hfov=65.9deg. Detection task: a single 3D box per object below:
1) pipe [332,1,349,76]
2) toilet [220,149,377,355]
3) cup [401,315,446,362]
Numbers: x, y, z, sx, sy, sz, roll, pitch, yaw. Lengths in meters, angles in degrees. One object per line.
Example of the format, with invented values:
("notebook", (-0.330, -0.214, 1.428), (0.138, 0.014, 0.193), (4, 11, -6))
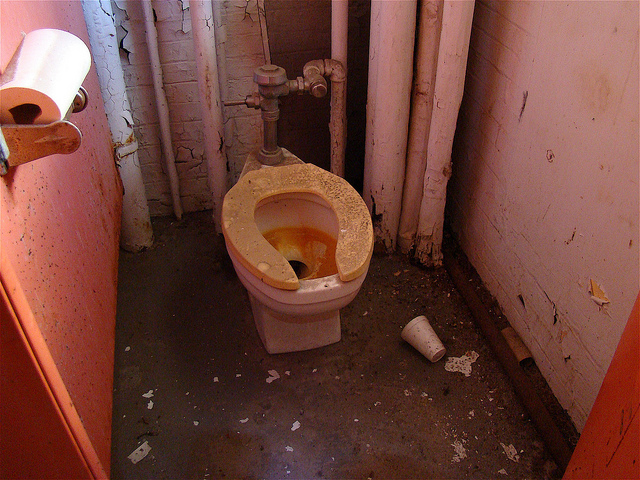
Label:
("pipe", (0.074, -0.792, 1.926), (0.060, 0.320, 0.063), (-9, 46, -12))
("toilet", (-0.101, -0.005, 1.892), (0.459, 0.517, 0.762), (-10, 55, -13))
("cup", (0.382, 0.374, 1.834), (0.097, 0.102, 0.165), (-19, 41, -24))
